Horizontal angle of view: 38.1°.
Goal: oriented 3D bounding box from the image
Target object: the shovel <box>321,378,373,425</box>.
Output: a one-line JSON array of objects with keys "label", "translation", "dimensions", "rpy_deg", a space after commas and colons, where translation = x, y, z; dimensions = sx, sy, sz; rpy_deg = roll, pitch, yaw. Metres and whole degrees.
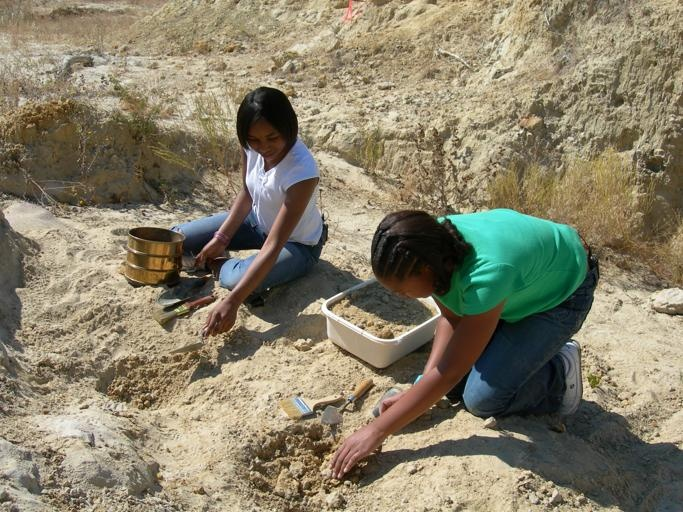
[{"label": "shovel", "translation": [0.069, 1.132, 8.019], "dimensions": [0.128, 0.068, 0.496], "rpy_deg": [7, 30, 43]}]

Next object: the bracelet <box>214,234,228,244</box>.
[{"label": "bracelet", "translation": [-1.090, -0.143, 8.879], "dimensions": [0.090, 0.043, 0.074], "rpy_deg": [25, -1, 0]}]

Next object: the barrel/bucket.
[{"label": "barrel/bucket", "translation": [-1.727, -0.034, 9.093], "dimensions": [0.801, 0.523, 0.541], "rpy_deg": [-3, 14, -28]}]

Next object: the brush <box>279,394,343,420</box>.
[{"label": "brush", "translation": [-0.259, 1.203, 7.961], "dimensions": [0.393, 0.036, 0.187], "rpy_deg": [-8, 28, -23]}]

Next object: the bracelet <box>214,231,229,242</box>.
[{"label": "bracelet", "translation": [-1.080, -0.166, 8.892], "dimensions": [0.102, 0.049, 0.088], "rpy_deg": [17, -1, 41]}]
